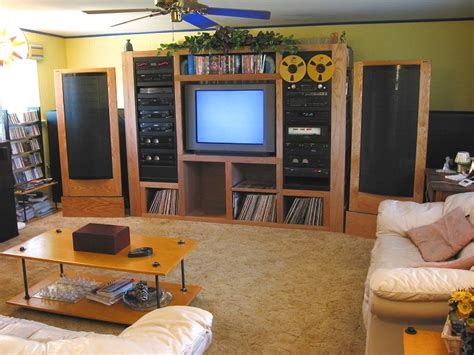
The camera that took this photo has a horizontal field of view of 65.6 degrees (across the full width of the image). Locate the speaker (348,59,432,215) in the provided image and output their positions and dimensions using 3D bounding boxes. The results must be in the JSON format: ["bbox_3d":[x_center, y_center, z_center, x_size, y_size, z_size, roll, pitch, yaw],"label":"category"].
[{"bbox_3d":[1.743,-0.535,4.277,0.865,1.595,0.282,3,15,13],"label":"speaker"}]

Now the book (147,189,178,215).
[{"bbox_3d":[-1.042,0.361,5.310,0.443,0.352,0.143,6,-5,30],"label":"book"}]

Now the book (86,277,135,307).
[{"bbox_3d":[-1.115,0.984,3.169,0.228,0.051,0.225,10,22,30],"label":"book"}]

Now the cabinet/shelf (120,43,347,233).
[{"bbox_3d":[-0.018,-0.567,4.905,3.411,2.077,0.889,1,9,12],"label":"cabinet/shelf"}]

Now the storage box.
[{"bbox_3d":[-1.103,0.540,3.169,0.477,0.164,0.323,0,4,22],"label":"storage box"}]
